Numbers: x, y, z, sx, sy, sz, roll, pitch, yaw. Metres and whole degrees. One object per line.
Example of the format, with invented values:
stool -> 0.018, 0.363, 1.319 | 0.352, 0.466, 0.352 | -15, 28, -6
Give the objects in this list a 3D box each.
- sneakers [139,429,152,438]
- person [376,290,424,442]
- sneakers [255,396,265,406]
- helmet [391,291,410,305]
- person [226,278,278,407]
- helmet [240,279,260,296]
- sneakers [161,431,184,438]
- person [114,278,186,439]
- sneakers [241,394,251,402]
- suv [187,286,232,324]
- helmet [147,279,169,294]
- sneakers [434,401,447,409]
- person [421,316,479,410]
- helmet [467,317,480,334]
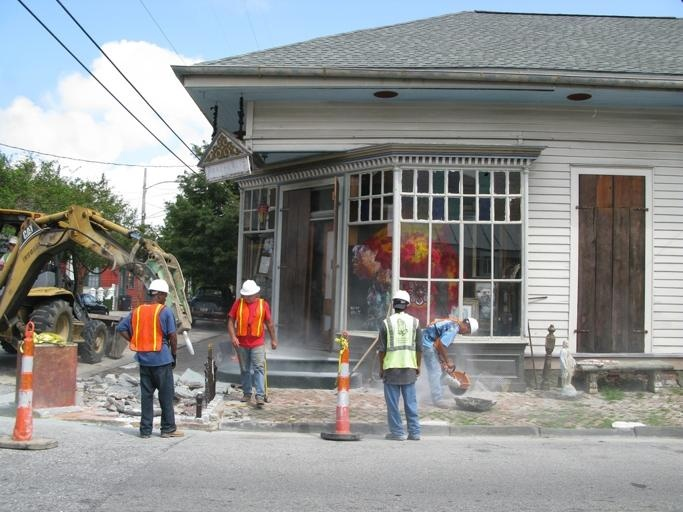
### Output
sneakers -> -2.570, 2.338, 9.609 | 0.071, 0.079, 0.178 | 1, 1, -7
person -> 0.828, 1.706, 10.408 | 0.609, 1.602, 0.312 | 2, 1, 3
sneakers -> -1.284, 2.293, 11.588 | 0.123, 0.150, 0.329 | 4, -15, -14
helmet -> 0.891, 0.604, 10.707 | 0.206, 0.144, 0.296 | 8, -2, 5
person -> -1.412, 1.412, 11.970 | 0.588, 1.441, 0.889 | 1, 2, -44
helmet -> -1.493, 0.531, 11.984 | 0.250, 0.192, 0.319 | 2, 1, -9
sneakers -> -2.237, 2.379, 9.772 | 0.240, 0.101, 0.102 | -1, 1, -18
person -> -2.553, 1.364, 9.874 | 0.786, 2.051, 0.666 | 2, 1, -21
sneakers -> -1.564, 2.352, 12.036 | 0.095, 0.111, 0.164 | -1, -14, 12
suv -> -5.593, 2.107, 32.759 | 1.337, 1.070, 3.167 | 1, 2, 3
helmet -> -2.533, 0.421, 10.098 | 0.267, 0.143, 0.221 | -1, -5, 16
sneakers -> 1.668, 2.492, 12.253 | 0.187, 0.074, 0.105 | -2, -1, 39
person -> 1.771, 1.803, 12.667 | 0.649, 1.236, 0.842 | 3, 2, 44
helmet -> 2.260, 1.211, 12.882 | 0.268, 0.328, 0.247 | -1, -9, 31
